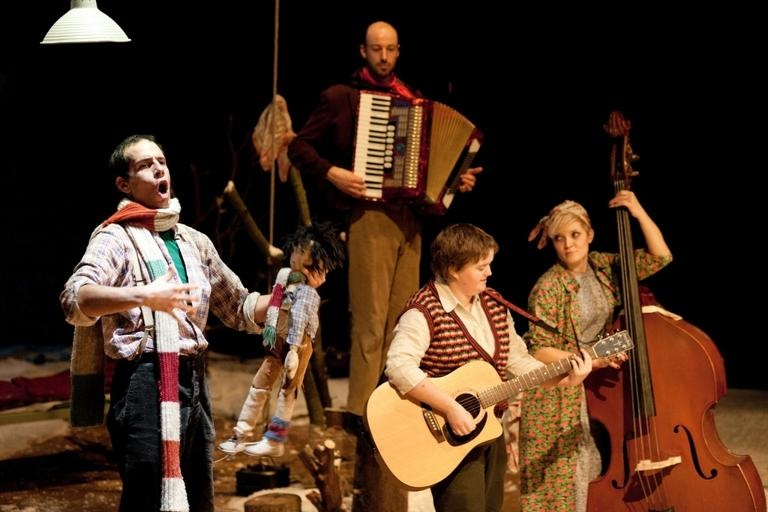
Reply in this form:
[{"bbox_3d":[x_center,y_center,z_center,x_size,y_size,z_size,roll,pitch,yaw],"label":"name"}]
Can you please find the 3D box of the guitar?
[{"bbox_3d":[0.659,0.845,4.985,1.795,0.758,0.197,-22,-9,-9],"label":"guitar"}]
